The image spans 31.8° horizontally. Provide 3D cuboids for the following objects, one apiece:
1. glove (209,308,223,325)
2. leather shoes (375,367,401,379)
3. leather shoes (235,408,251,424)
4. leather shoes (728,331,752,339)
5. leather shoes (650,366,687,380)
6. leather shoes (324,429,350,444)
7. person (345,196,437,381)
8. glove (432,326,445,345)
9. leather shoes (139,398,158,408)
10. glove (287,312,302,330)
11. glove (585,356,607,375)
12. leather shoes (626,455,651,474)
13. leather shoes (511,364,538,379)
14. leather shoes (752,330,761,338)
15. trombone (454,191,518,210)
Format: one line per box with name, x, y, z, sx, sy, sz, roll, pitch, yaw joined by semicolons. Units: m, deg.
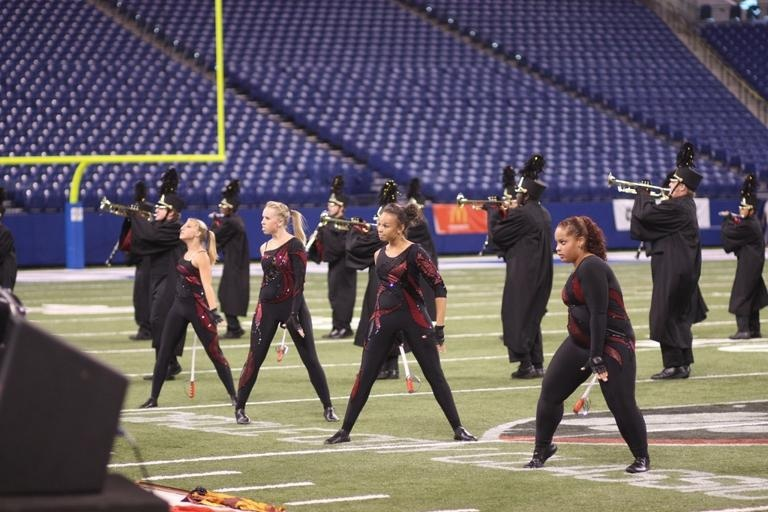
glove;-2.461;0.872;19.715;0.194;0.237;0.076;-23;-23;-13
leather shoes;0.093;1.875;21.711;0.466;0.135;0.136;1;-1;4
leather shoes;-2.000;2.213;19.055;0.195;0.220;0.274;-2;12;-8
leather shoes;6.502;1.428;24.547;0.377;0.115;0.151;0;-3;3
leather shoes;4.537;1.835;21.402;0.598;0.175;0.202;2;-4;4
leather shoes;-0.625;2.420;18.100;0.357;0.110;0.157;0;-5;1
person;-0.005;0.726;22.483;1.670;2.853;1.161;8;-23;-12
glove;0.729;1.034;18.116;0.128;0.285;0.181;2;14;12
leather shoes;-3.470;2.120;19.835;0.263;0.151;0.295;-2;11;-9
glove;-1.251;0.893;18.788;0.185;0.225;0.274;3;4;17
glove;2.679;1.343;17.060;0.303;0.228;0.184;4;14;22
leather shoes;3.238;2.617;17.154;0.322;0.196;0.172;0;13;0
leather shoes;2.261;1.830;21.527;0.444;0.148;0.197;0;3;11
leather shoes;6.848;1.402;24.764;0.172;0.119;0.421;3;11;17
trombone;1.521;-0.997;23.794;1.644;0.402;0.423;-1;2;7
